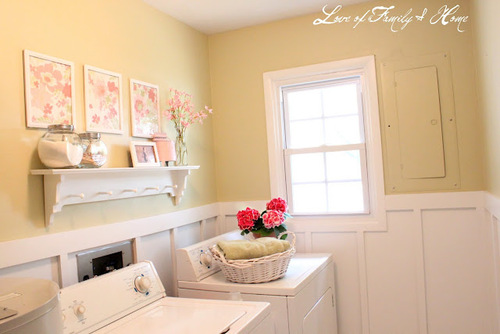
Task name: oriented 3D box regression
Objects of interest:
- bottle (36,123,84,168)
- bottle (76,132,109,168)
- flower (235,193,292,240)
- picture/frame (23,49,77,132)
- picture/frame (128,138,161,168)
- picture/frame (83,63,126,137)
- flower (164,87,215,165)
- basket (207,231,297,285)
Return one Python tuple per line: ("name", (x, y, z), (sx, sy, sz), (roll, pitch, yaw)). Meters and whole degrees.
("bottle", (-1.048, -0.110, 1.927), (0.233, 0.260, 0.249), (1, 0, -23))
("bottle", (-0.932, -0.100, 2.159), (0.203, 0.192, 0.198), (-6, -6, 30))
("flower", (0.115, 0.475, 2.811), (0.392, 0.231, 0.376), (-3, -2, -8))
("picture/frame", (-1.165, -0.452, 2.030), (0.294, 0.429, 0.112), (-10, 13, -38))
("picture/frame", (-0.708, -0.087, 2.421), (0.212, 0.192, 0.230), (-7, 12, -28))
("picture/frame", (-0.965, -0.441, 2.293), (0.102, 0.445, 0.323), (3, 11, 23))
("flower", (-0.626, -0.349, 3.089), (0.573, 0.758, 0.521), (2, 2, -17))
("basket", (0.062, 0.582, 2.328), (0.415, 0.188, 0.324), (0, -7, -33))
